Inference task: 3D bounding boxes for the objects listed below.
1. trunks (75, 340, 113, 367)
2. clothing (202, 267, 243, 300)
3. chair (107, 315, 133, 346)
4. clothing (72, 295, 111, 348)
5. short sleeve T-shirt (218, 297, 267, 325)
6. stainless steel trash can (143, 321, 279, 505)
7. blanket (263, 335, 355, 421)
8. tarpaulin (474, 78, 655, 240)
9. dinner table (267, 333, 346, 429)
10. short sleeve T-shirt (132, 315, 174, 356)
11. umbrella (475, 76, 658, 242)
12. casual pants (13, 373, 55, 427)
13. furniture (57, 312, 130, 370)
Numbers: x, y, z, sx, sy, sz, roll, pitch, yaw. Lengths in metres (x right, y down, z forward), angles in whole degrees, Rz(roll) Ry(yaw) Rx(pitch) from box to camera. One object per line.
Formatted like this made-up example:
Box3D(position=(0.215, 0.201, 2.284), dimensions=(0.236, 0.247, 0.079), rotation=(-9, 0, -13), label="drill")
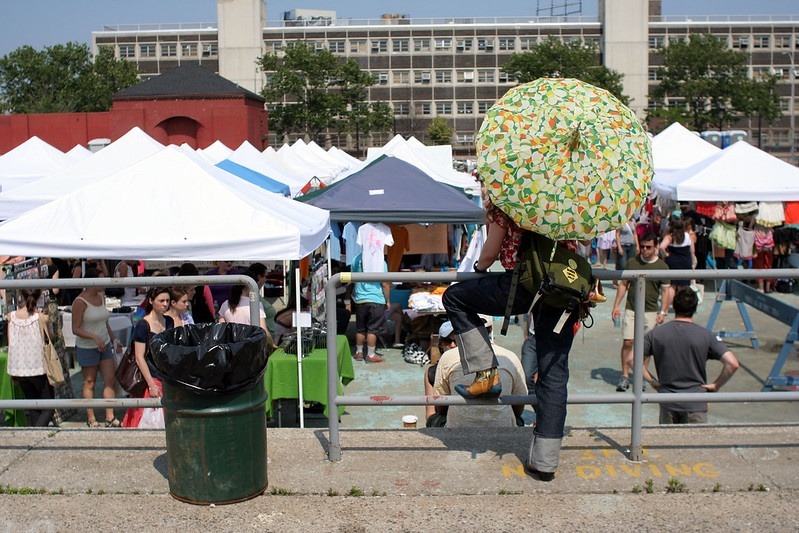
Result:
Box3D(position=(-4.559, 1.315, 16.589), dimensions=(0.331, 0.334, 0.460), rotation=(-1, 1, 44), label="trunks")
Box3D(position=(-2.693, 0.273, 16.869), dimensions=(0.512, 0.516, 0.286), rotation=(1, -10, -6), label="clothing")
Box3D(position=(-4.431, 0.998, 17.636), dimensions=(0.400, 0.522, 0.408), rotation=(-1, 10, -15), label="chair")
Box3D(position=(-4.615, 0.805, 16.647), dimensions=(0.405, 0.759, 0.587), rotation=(2, 8, 22), label="clothing")
Box3D(position=(-2.193, 0.620, 15.544), dimensions=(0.501, 0.504, 0.279), rotation=(1, 3, 4), label="short sleeve T-shirt")
Box3D(position=(-2.307, 1.765, 13.735), dimensions=(1.775, 2.294, 1.792), rotation=(-1, 7, -14), label="stainless steel trash can")
Box3D(position=(-1.314, 1.565, 15.729), dimensions=(1.417, 0.679, 2.505), rotation=(-1, 2, 4), label="blanket")
Box3D(position=(1.954, -1.275, 13.011), dimensions=(1.916, 1.996, 0.762), rotation=(-17, -5, -9), label="tarpaulin")
Box3D(position=(-1.325, 1.608, 15.793), dimensions=(1.472, 0.733, 2.596), rotation=(-1, 3, 4), label="dinner table")
Box3D(position=(-3.254, 0.914, 14.629), dimensions=(0.533, 0.510, 0.282), rotation=(1, -4, -16), label="short sleeve T-shirt")
Box3D(position=(1.960, -1.242, 13.003), dimensions=(1.920, 1.998, 0.777), rotation=(-18, -5, -8), label="umbrella")
Box3D(position=(-5.179, 1.837, 15.655), dimensions=(0.313, 1.189, 0.500), rotation=(-14, 38, -10), label="casual pants")
Box3D(position=(-4.654, 1.154, 17.403), dimensions=(0.853, 0.889, 0.551), rotation=(0, -4, -15), label="furniture")
